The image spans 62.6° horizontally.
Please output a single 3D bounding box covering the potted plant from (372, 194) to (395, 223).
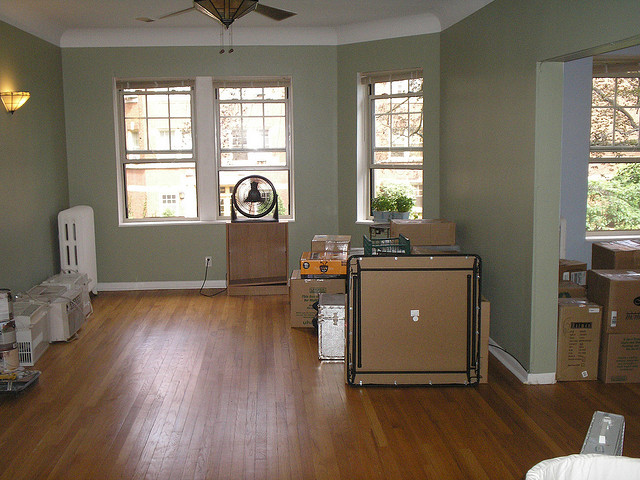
[{"bbox_3d":[0.787,-0.386,6.650,0.355,0.386,0.296,1,1,3],"label":"potted plant"}]

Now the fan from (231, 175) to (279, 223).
[{"bbox_3d":[-0.817,-0.523,6.638,0.613,0.647,0.219,-2,-7,0],"label":"fan"}]

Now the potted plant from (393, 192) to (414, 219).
[{"bbox_3d":[1.032,-0.437,6.511,0.297,0.328,0.242,-1,3,-23],"label":"potted plant"}]

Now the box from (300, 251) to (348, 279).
[{"bbox_3d":[0.042,0.266,5.526,0.487,0.218,0.423,-2,11,6],"label":"box"}]

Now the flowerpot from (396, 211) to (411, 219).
[{"bbox_3d":[1.025,-0.315,6.510,0.109,0.072,0.094,1,2,-13],"label":"flowerpot"}]

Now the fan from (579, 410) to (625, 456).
[{"bbox_3d":[1.678,1.163,3.099,0.179,0.095,0.333,-1,30,42],"label":"fan"}]

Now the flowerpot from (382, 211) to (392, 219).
[{"bbox_3d":[0.847,-0.326,6.592,0.089,0.072,0.090,-5,10,-30],"label":"flowerpot"}]

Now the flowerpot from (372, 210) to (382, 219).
[{"bbox_3d":[0.722,-0.320,6.647,0.084,0.129,0.123,0,0,-42],"label":"flowerpot"}]

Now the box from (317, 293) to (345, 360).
[{"bbox_3d":[0.108,0.811,4.861,0.252,0.545,0.219,-3,11,1],"label":"box"}]

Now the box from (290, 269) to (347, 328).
[{"bbox_3d":[-0.072,0.594,5.544,0.540,0.437,0.558,0,3,-4],"label":"box"}]
